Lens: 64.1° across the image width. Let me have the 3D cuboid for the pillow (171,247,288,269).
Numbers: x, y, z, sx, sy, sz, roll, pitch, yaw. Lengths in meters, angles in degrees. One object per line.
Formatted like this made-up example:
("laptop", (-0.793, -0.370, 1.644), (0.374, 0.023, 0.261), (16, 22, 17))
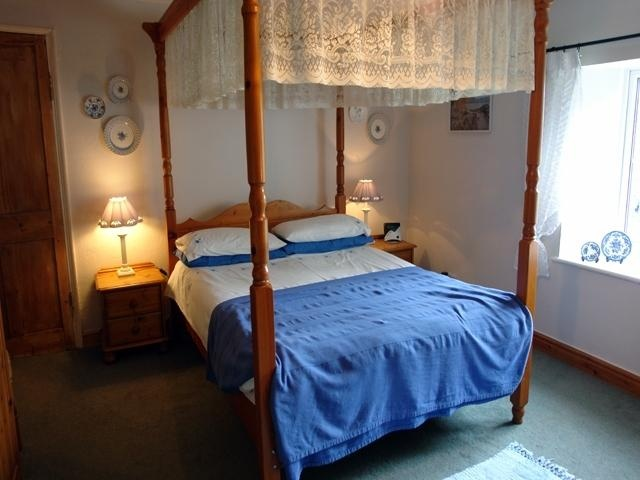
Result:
("pillow", (-0.840, 0.177, 4.703), (0.574, 0.112, 0.376), (-4, 5, -20))

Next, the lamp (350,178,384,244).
("lamp", (0.511, -0.364, 5.606), (0.313, 0.602, 0.343), (-2, 11, -8))

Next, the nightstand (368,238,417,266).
("nightstand", (0.797, 0.013, 5.557), (0.357, 0.380, 0.271), (-11, 19, -37))

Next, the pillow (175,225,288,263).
("pillow", (-0.920, 0.041, 4.712), (0.622, 0.191, 0.490), (-4, 14, -21))

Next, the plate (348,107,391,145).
("plate", (0.588, -1.309, 5.718), (0.369, 0.431, 0.127), (14, -6, -23))

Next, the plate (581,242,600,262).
("plate", (2.309, 0.106, 4.344), (0.149, 0.168, 0.076), (6, 15, 31))

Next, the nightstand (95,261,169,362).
("nightstand", (-1.669, 0.564, 4.811), (0.699, 0.917, 0.672), (-4, 10, -24))
